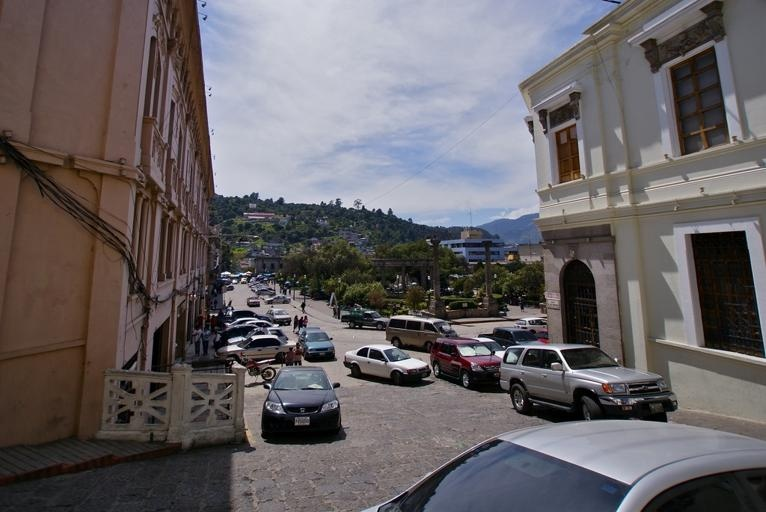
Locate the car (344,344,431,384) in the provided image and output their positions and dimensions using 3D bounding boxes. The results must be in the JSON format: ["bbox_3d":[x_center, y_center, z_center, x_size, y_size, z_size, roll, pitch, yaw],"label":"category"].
[{"bbox_3d":[0.126,4.428,20.403,1.555,0.932,2.758,3,-6,-40],"label":"car"}]

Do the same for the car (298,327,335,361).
[{"bbox_3d":[-3.608,4.708,26.424,1.163,0.934,2.931,0,-5,-13],"label":"car"}]

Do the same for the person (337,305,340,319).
[{"bbox_3d":[-4.242,5.207,46.437,0.436,1.159,1.612,-2,-8,-5],"label":"person"}]

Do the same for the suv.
[{"bbox_3d":[5.635,3.563,14.151,1.645,2.069,4.261,2,-10,-34],"label":"suv"}]

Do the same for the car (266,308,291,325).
[{"bbox_3d":[-8.734,4.957,41.093,1.148,0.817,2.452,-1,6,-24],"label":"car"}]

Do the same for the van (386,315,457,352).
[{"bbox_3d":[2.086,4.299,27.946,3.002,1.329,1.873,-2,-4,42],"label":"van"}]

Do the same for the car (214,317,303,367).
[{"bbox_3d":[-6.308,4.562,24.841,3.846,1.252,1.695,4,-4,-22],"label":"car"}]

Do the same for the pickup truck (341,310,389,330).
[{"bbox_3d":[-1.356,4.968,38.586,2.634,0.993,1.523,-3,-3,26],"label":"pickup truck"}]

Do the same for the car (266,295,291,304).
[{"bbox_3d":[-12.466,5.189,58.837,2.889,1.018,1.338,5,-7,-21],"label":"car"}]

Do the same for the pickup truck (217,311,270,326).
[{"bbox_3d":[-10.518,5.096,37.524,3.807,1.205,1.693,5,-4,-14],"label":"pickup truck"}]

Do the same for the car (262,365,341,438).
[{"bbox_3d":[-2.390,4.148,14.059,2.138,1.648,1.943,-1,-8,-14],"label":"car"}]
